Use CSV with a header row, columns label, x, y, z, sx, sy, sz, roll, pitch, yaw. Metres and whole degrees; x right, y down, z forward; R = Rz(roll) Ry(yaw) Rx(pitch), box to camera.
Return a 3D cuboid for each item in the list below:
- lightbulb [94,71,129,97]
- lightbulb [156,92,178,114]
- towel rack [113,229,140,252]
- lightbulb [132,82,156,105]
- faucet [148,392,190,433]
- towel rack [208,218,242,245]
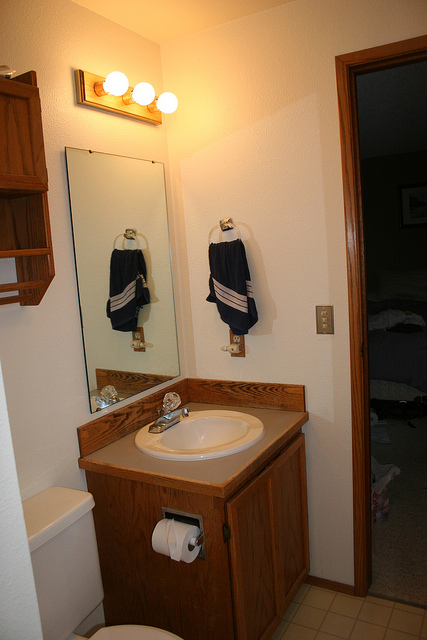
label,x,y,z,sx,sy,sz,roll,pitch,yaw
lightbulb,-0.355,-0.814,1.617,0.103,0.079,0.041,12,41,38
lightbulb,-0.186,-0.870,1.860,0.078,0.074,0.064,-9,9,-15
towel rack,-0.342,-0.326,1.879,0.069,0.113,0.088,3,7,27
lightbulb,-0.269,-0.859,1.774,0.074,0.070,0.084,-12,11,-32
faucet,-0.165,0.336,1.823,0.066,0.135,0.236,8,19,19
towel rack,0.054,-0.387,2.035,0.125,0.109,0.022,-5,-12,30
